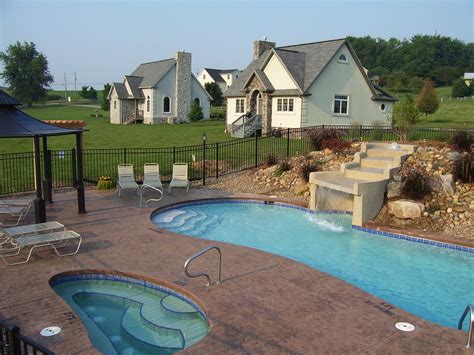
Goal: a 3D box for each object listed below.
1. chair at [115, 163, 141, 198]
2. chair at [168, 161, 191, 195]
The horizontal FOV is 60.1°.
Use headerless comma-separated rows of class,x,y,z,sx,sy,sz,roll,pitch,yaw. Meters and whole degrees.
chair,-4.604,0.192,17.313,0.763,0.961,1.496,0,25,-26
chair,-2.495,0.048,17.981,0.808,1.267,1.119,2,13,9
